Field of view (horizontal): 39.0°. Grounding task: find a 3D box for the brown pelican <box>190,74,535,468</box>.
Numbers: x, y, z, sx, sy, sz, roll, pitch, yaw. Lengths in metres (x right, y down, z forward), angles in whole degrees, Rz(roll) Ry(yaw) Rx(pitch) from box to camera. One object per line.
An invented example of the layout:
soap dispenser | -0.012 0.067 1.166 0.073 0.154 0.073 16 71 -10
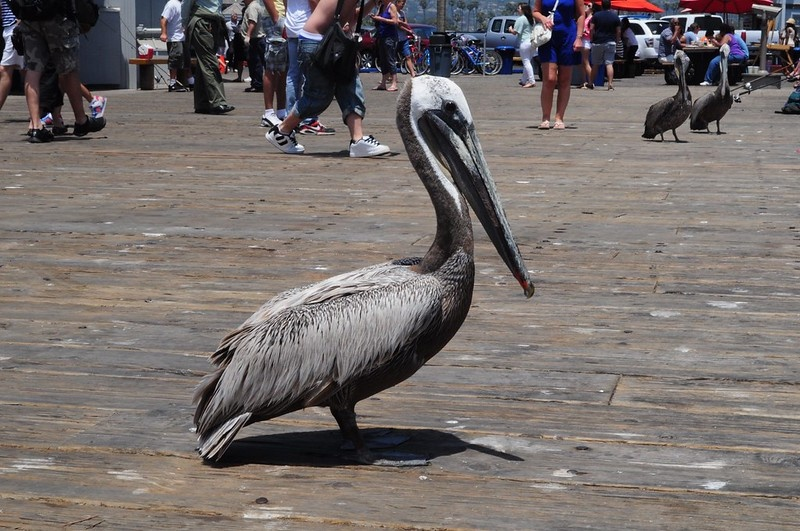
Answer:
brown pelican | -0.149 0.032 4.498 1.207 1.581 0.572 -9 18 -34

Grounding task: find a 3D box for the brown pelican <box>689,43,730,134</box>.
brown pelican | 3.567 -1.969 12.916 0.428 0.909 1.282 4 11 14

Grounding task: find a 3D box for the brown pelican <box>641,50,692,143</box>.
brown pelican | 2.929 -1.839 12.266 0.515 0.950 1.415 4 11 13
